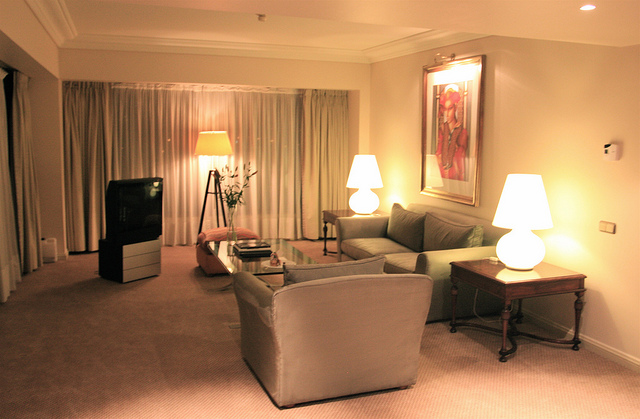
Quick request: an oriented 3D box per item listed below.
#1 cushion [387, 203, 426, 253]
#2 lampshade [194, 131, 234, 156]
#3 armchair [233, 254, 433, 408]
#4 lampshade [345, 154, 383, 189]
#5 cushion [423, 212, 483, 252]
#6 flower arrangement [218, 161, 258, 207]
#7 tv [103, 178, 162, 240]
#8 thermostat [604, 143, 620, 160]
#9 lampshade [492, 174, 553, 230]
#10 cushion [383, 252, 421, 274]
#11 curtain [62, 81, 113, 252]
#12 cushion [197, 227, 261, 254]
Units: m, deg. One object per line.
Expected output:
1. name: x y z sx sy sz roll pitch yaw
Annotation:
1. cushion: 1.251 0.254 6.562 0.312 0.590 0.940 4 7 -22
2. lampshade: -1.845 -1.110 7.796 0.486 0.281 0.468 -5 8 -39
3. armchair: 0.059 0.933 4.387 1.664 1.290 1.484 -1 6 -20
4. lampshade: 0.684 -0.632 7.363 0.562 0.505 0.540 -3 9 -8
5. cushion: 1.624 0.346 5.716 0.395 0.464 0.936 -6 15 -26
6. flower arrangement: -1.480 -0.496 8.005 0.779 0.963 0.805 -3 13 -26
7. tv: -2.565 -0.007 6.235 0.415 0.781 0.822 12 10 32
8. thermostat: 2.835 -0.564 4.394 0.132 0.148 0.053 9 17 30
9. lampshade: 2.007 -0.090 4.661 0.465 0.589 0.495 -1 10 -15
10. cushion: 0.994 0.655 5.500 0.318 0.134 0.317 -3 10 -10
11. curtain: -3.880 -0.771 7.739 0.876 2.897 0.335 -3 -3 -8
12. cushion: -1.439 0.427 6.991 1.091 0.337 1.077 2 7 -15
